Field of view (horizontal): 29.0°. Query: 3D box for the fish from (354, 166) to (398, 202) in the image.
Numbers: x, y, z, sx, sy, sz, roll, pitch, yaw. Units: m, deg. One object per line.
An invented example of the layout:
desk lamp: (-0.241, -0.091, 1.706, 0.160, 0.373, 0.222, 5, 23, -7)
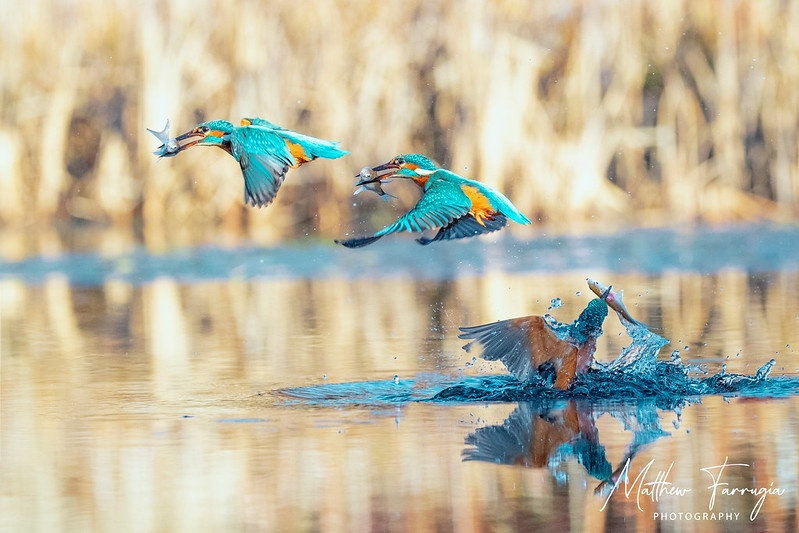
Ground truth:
fish: (-0.141, -0.566, 11.048, 0.252, 0.357, 0.195, -13, 74, -5)

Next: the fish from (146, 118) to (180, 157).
fish: (-1.637, -0.885, 10.828, 0.171, 0.284, 0.303, -21, 22, -1)

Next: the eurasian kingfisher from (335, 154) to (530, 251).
eurasian kingfisher: (0.373, -0.420, 10.765, 0.810, 1.004, 0.384, -9, 82, 14)

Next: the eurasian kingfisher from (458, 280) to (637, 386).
eurasian kingfisher: (1.046, 0.445, 11.086, 0.883, 0.881, 0.704, 34, 82, 10)

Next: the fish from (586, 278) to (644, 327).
fish: (1.799, 0.315, 12.904, 0.542, 0.219, 0.126, 30, 45, -24)
